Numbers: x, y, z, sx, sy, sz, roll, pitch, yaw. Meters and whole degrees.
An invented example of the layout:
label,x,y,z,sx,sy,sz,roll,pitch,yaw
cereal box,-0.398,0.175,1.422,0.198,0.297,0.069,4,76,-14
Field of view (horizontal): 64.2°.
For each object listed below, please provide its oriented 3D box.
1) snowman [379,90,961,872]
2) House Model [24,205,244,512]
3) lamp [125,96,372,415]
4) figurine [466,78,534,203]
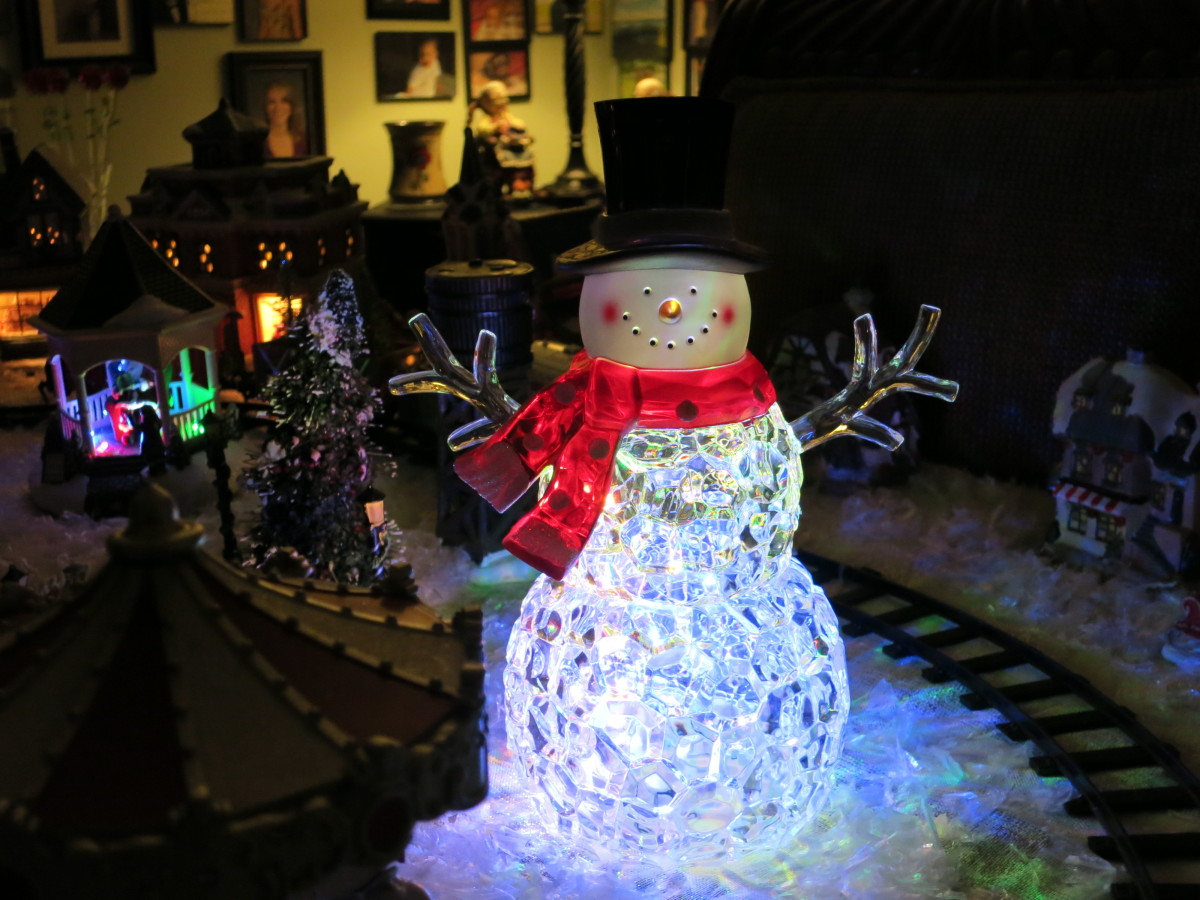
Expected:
label,x,y,z,sx,sy,sz,roll,pitch,yaw
snowman,0.127,0.072,1.863,0.752,1.451,0.449,-3,14,-8
House Model,-1.711,-0.379,3.455,0.651,0.931,0.650,-8,2,-12
lamp,-1.674,-0.940,4.516,1.254,1.286,1.241,3,12,35
figurine,-0.616,-1.748,5.505,0.374,0.619,0.358,13,29,19
